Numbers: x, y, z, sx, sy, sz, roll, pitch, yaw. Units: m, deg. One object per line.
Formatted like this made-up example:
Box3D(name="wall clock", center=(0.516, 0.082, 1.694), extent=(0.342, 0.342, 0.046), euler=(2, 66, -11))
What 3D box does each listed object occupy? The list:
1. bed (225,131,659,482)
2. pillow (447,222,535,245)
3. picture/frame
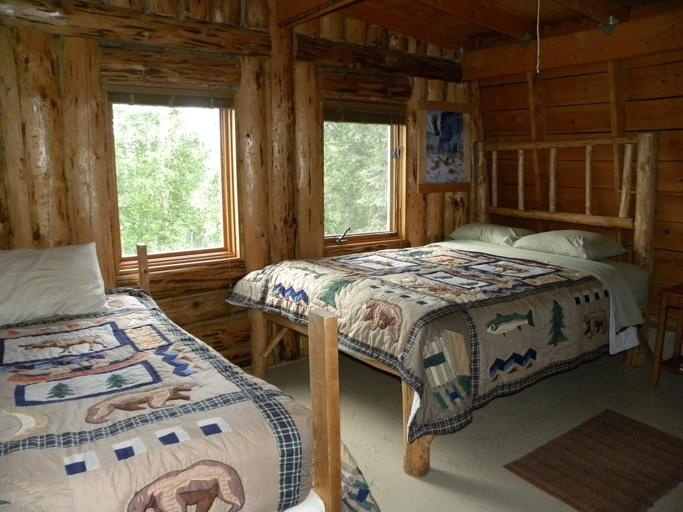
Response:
Box3D(name="bed", center=(0.856, 0.094, 3.873), extent=(2.893, 1.650, 2.275), euler=(-13, 17, -42))
Box3D(name="pillow", center=(1.342, -0.196, 4.510), extent=(0.296, 0.097, 0.430), euler=(-19, 15, -39))
Box3D(name="picture/frame", center=(1.017, -1.083, 4.839), extent=(0.055, 0.876, 0.930), euler=(8, 15, 42))
